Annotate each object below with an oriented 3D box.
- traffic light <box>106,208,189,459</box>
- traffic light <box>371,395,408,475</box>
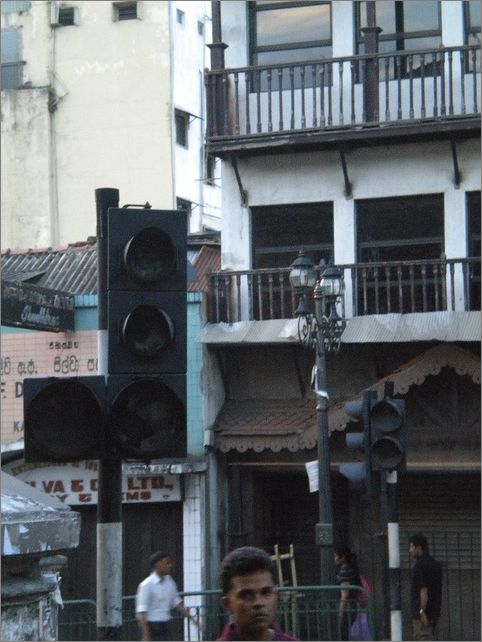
[{"bbox_3d":[-0.879,0.267,17.678,0.701,2.869,0.897,2,-39,-5],"label":"traffic light"},{"bbox_3d":[1.669,1.259,21.411,0.326,0.951,0.437,1,25,8],"label":"traffic light"}]
